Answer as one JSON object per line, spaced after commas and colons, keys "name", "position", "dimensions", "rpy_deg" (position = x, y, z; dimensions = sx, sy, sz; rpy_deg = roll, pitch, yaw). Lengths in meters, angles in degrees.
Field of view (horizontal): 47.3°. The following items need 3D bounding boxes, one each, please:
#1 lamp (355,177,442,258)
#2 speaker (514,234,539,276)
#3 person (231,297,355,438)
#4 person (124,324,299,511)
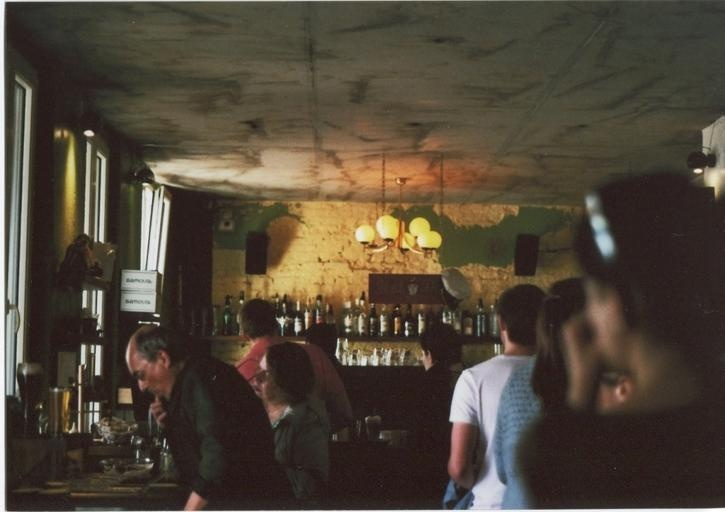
{"name": "lamp", "position": [0.268, -0.290, 6.126], "dimensions": [0.460, 0.552, 0.634], "rpy_deg": [-5, -12, 44]}
{"name": "speaker", "position": [1.507, -0.007, 7.592], "dimensions": [0.309, 0.433, 0.090], "rpy_deg": [4, 7, 4]}
{"name": "person", "position": [-0.378, 0.633, 4.874], "dimensions": [0.704, 0.830, 0.846], "rpy_deg": [-8, -15, -2]}
{"name": "person", "position": [-0.702, 0.792, 4.113], "dimensions": [0.442, 0.929, 0.775], "rpy_deg": [-11, -11, 43]}
